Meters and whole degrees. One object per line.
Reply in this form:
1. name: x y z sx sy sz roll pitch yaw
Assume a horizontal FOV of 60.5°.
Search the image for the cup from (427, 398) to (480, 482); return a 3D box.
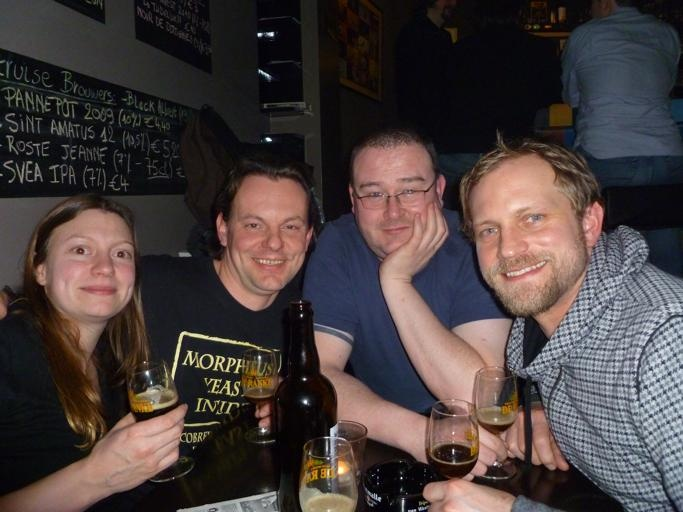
1. cup: 0.370 0.632 1.933 0.177 0.263 0.231 -2 1 10
